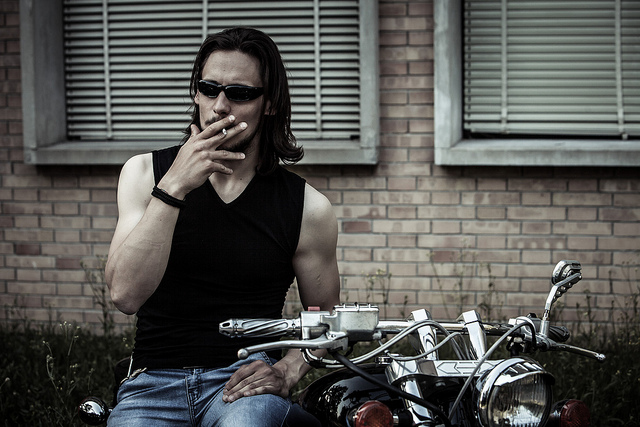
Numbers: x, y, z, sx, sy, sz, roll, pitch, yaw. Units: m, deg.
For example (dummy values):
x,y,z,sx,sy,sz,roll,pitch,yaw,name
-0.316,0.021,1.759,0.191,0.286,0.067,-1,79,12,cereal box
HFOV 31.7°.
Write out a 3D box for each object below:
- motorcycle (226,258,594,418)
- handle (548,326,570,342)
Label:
x,y,z,sx,sy,sz,roll,pitch,yaw,name
0.665,1.096,8.322,2.185,1.495,1.505,-1,-13,37,motorcycle
1.809,0.907,8.515,0.128,0.059,0.122,5,11,-16,handle
